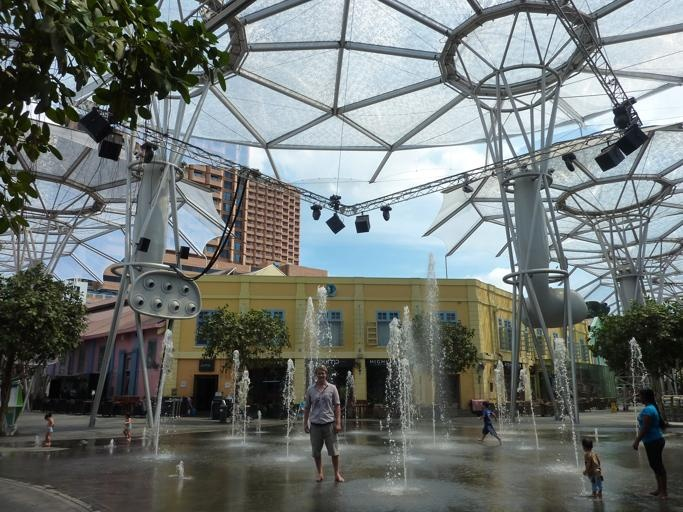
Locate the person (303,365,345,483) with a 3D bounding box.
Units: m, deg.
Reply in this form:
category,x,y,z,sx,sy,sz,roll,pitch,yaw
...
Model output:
category,x,y,z,sx,sy,sz,roll,pitch,yaw
person,-0.323,3.048,8.629,0.676,1.984,1.385,-1,-19,-2
